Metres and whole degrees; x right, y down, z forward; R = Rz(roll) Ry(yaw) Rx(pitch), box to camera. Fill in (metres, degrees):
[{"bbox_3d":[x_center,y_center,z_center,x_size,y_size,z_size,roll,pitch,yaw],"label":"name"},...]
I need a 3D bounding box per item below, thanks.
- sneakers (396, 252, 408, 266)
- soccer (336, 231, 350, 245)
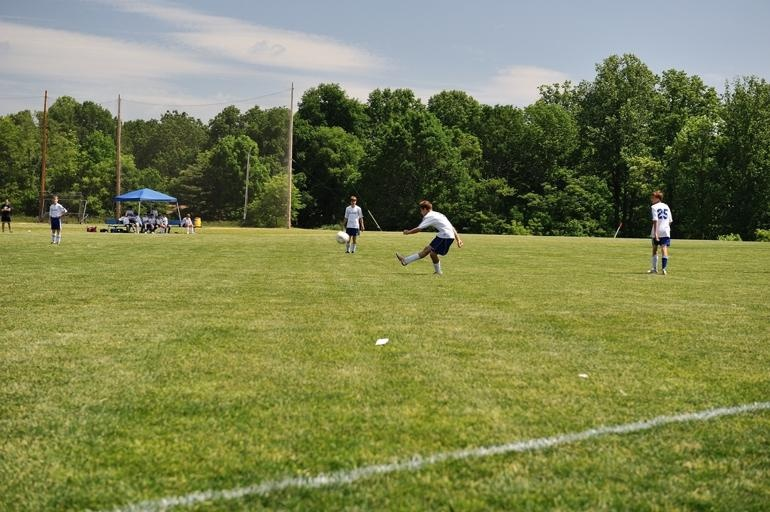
[{"bbox_3d":[0.456,0.185,20.730,0.226,0.504,0.169,-13,49,5],"label":"sneakers"},{"bbox_3d":[-1.638,-0.701,30.021,0.594,0.306,0.549,5,17,5],"label":"soccer"}]
